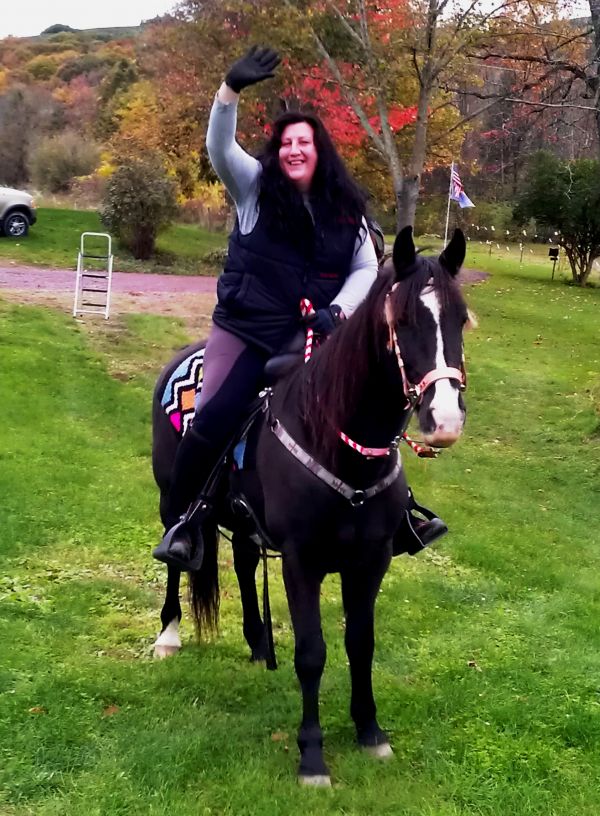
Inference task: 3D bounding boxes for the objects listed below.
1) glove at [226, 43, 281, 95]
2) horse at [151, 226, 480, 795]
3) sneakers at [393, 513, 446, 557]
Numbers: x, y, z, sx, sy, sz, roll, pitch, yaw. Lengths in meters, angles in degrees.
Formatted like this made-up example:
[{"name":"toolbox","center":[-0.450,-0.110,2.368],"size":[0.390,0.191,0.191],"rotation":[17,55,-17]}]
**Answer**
[{"name":"glove","center":[-0.187,-1.369,3.319],"size":[0.189,0.069,0.276],"rotation":[19,38,22]},{"name":"horse","center":[-0.045,0.424,4.177],"size":[0.856,2.322,3.276],"rotation":[1,-1,-24]},{"name":"sneakers","center":[0.572,0.645,4.098],"size":[0.279,0.101,0.249],"rotation":[-4,2,30]}]
